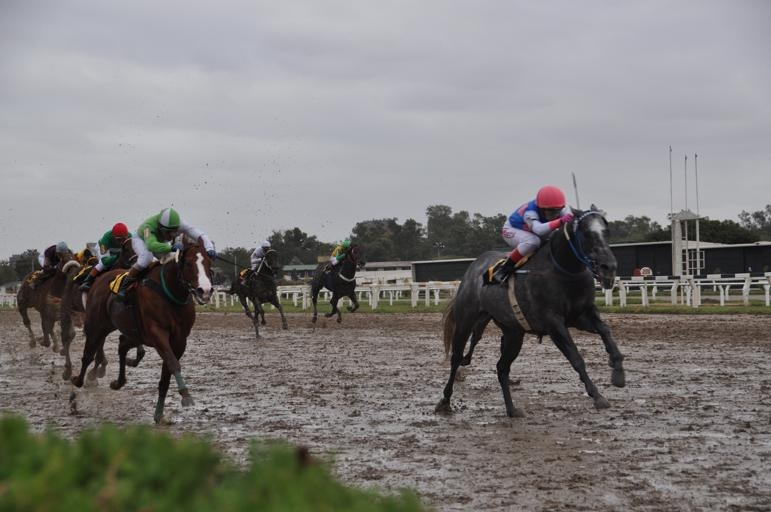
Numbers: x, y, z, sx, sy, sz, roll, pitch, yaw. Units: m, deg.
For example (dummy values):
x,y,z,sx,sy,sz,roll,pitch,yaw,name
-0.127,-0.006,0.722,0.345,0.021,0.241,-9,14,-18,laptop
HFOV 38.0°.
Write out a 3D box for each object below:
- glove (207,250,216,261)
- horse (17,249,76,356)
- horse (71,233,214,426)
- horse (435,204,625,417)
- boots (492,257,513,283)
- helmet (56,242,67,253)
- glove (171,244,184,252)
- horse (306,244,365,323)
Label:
x,y,z,sx,sy,sz,roll,pitch,yaw,name
-2.360,-0.007,15.129,0.093,0.119,0.118,2,-31,-6,glove
-6.770,0.856,22.204,0.708,1.938,2.798,-3,-2,-30,horse
-3.332,1.073,15.595,0.865,2.516,2.500,12,-15,-36,horse
2.030,0.981,16.172,1.124,2.691,4.397,2,-8,-26,horse
1.634,0.208,15.662,0.148,0.368,0.245,34,24,-26,boots
-5.260,-0.128,18.151,0.161,0.176,0.199,1,30,-20,helmet
-2.941,-0.112,15.783,0.109,0.061,0.144,-7,5,-4,glove
-1.298,0.718,28.881,0.695,1.963,3.016,4,-6,-28,horse
